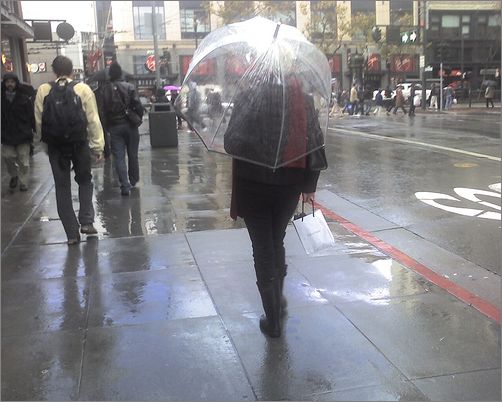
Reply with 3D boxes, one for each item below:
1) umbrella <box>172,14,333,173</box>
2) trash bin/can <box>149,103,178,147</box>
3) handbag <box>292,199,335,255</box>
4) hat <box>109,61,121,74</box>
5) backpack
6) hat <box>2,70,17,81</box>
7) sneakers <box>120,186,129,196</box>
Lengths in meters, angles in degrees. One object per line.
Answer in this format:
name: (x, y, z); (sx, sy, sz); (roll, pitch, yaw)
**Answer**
umbrella: (-0.029, -0.653, 2.973); (1.060, 1.153, 1.068); (13, -13, -11)
trash bin/can: (-3.439, -2.878, 14.918); (1.356, 1.622, 1.449); (-4, 7, 12)
handbag: (0.461, 0.176, 3.030); (0.229, 0.477, 0.154); (-19, -18, 0)
hat: (-2.714, -2.653, 7.688); (0.065, 0.275, 0.269); (6, 4, 32)
backpack: (-2.343, -1.100, 4.951); (0.558, 0.799, 0.463); (-5, 10, -3)
hat: (-4.857, -2.519, 7.795); (0.225, 0.178, 0.232); (4, 22, -6)
sneakers: (-2.469, -0.194, 7.563); (0.146, 0.147, 0.151); (1, 7, 12)
